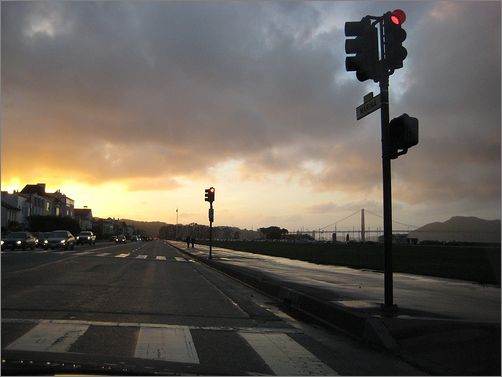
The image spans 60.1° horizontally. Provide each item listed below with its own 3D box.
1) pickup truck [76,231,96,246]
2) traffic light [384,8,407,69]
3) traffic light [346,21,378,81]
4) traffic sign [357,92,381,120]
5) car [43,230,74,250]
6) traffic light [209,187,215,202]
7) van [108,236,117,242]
[{"bbox_3d":[-22.530,6.734,59.341,1.586,1.544,3.182,1,-12,-12],"label":"pickup truck"},{"bbox_3d":[3.211,-3.298,9.657,0.463,1.316,0.365,-4,-9,20],"label":"traffic light"},{"bbox_3d":[2.479,-3.129,9.918,0.623,1.514,0.441,3,-12,3],"label":"traffic light"},{"bbox_3d":[2.635,-1.897,9.846,0.220,0.535,0.773,3,-11,-24],"label":"traffic sign"},{"bbox_3d":[-17.341,4.701,39.680,1.312,1.208,3.148,1,-13,-13],"label":"car"},{"bbox_3d":[-2.382,0.416,26.306,0.323,0.885,0.979,1,-10,-11],"label":"traffic light"},{"bbox_3d":[-32.702,12.092,102.797,1.127,1.208,2.130,0,4,-5],"label":"van"}]
